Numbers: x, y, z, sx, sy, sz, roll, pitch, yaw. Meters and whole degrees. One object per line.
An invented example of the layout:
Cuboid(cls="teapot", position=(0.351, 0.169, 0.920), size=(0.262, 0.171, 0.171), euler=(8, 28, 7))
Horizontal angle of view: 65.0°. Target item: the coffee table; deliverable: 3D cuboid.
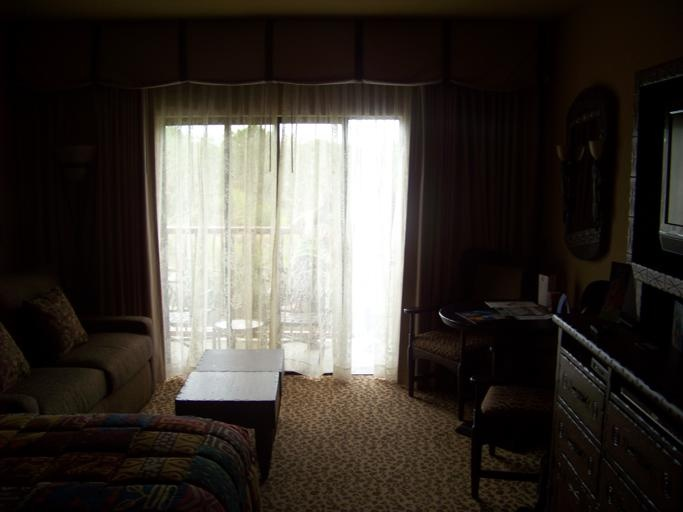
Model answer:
Cuboid(cls="coffee table", position=(-0.733, 0.899, 3.754), size=(0.555, 0.567, 1.102), euler=(2, 6, 3))

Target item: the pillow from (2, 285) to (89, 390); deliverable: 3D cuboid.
Cuboid(cls="pillow", position=(-2.172, 0.563, 3.971), size=(0.201, 0.568, 0.532), euler=(-14, 15, 44))

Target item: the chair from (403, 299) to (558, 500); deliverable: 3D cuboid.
Cuboid(cls="chair", position=(1.025, 1.026, 3.842), size=(0.499, 0.577, 1.120), euler=(0, 2, -4))
